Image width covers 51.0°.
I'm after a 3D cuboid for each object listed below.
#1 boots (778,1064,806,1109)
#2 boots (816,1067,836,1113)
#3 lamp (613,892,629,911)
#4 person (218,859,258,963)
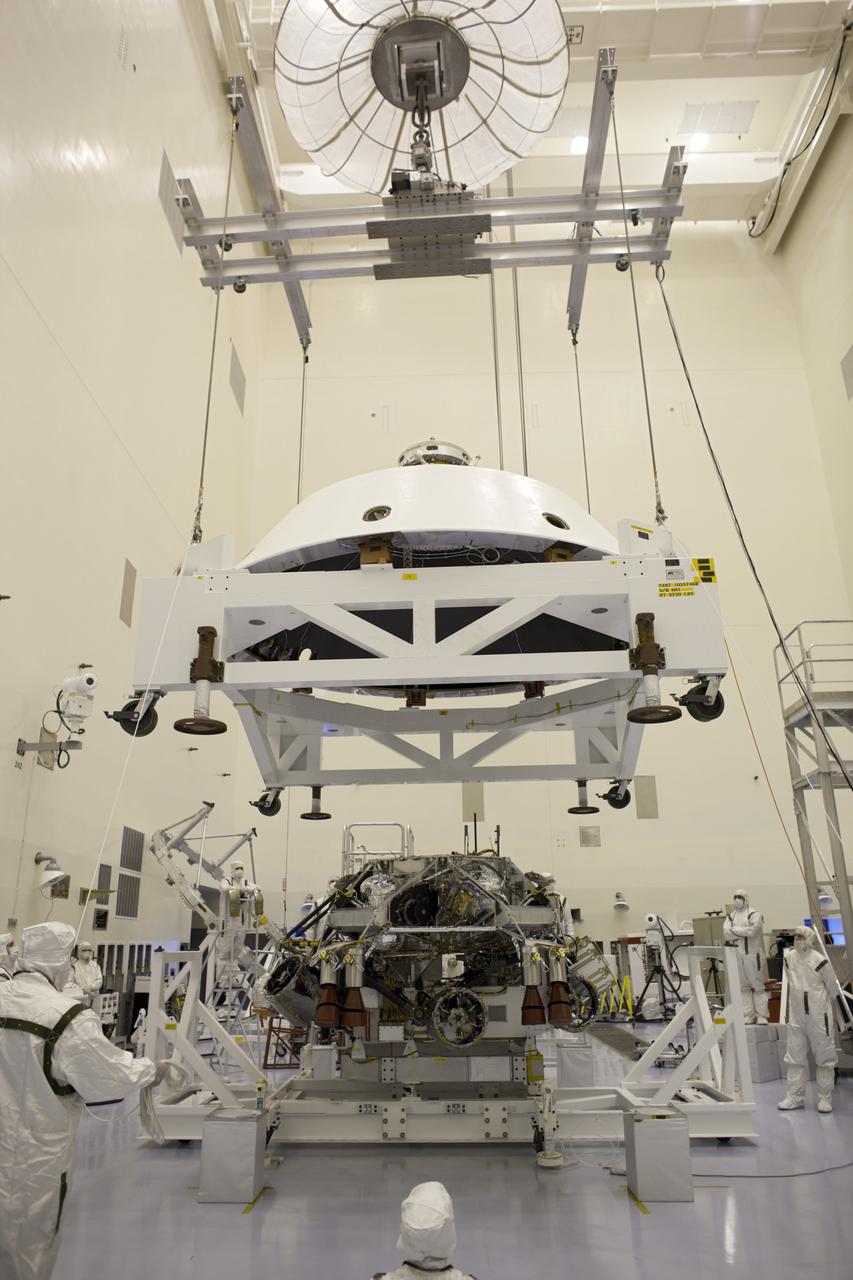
[{"bbox_3d":[3.418,4.193,8.392,0.279,0.358,0.542,-9,-27,18],"label":"boots"},{"bbox_3d":[3.637,4.091,8.197,0.174,0.382,0.394,-9,-27,19],"label":"boots"},{"bbox_3d":[3.912,5.263,18.078,0.217,0.419,0.262,-9,-41,15],"label":"lamp"},{"bbox_3d":[-2.488,3.505,11.853,0.431,1.491,1.901,5,-26,-9],"label":"person"}]
